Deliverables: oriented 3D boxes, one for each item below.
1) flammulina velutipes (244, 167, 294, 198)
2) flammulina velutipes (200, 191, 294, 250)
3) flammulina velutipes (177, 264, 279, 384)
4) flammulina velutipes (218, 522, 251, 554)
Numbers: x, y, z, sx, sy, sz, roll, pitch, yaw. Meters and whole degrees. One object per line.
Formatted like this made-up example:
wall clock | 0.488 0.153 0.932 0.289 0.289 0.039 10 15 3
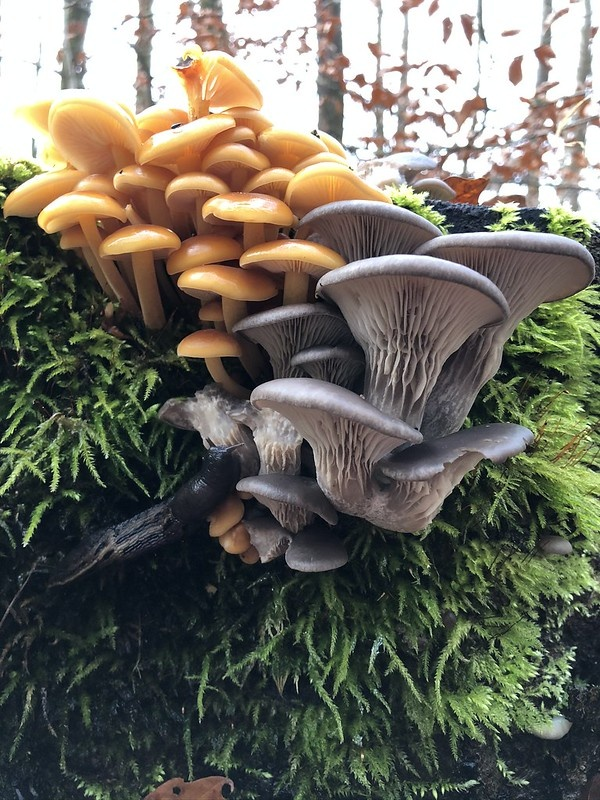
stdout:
flammulina velutipes | -0.113 -0.828 2.984 0.143 0.062 0.127 -12 -6 10
flammulina velutipes | -0.201 -0.673 2.963 0.332 0.209 0.285 2 14 -6
flammulina velutipes | -0.382 -0.309 3.147 0.536 0.452 0.466 7 9 11
flammulina velutipes | -0.276 0.581 3.297 0.138 0.120 0.078 7 -15 3
